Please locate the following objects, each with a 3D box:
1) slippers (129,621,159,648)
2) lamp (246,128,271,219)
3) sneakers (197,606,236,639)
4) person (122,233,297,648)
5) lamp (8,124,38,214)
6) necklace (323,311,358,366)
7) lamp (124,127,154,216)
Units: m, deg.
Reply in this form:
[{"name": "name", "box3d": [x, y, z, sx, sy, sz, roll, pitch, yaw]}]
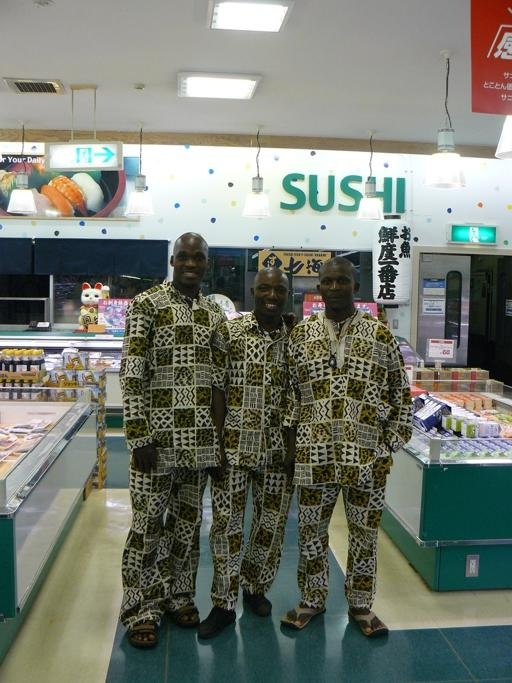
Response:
[{"name": "slippers", "box3d": [-0.444, 1.146, 2.258, 0.055, 0.061, 0.145, 4, -11, -10]}, {"name": "lamp", "box3d": [0.008, -1.817, 6.199, 0.397, 0.932, 0.385, 1, -7, -1]}, {"name": "sneakers", "box3d": [-0.161, 1.140, 2.361, 0.067, 0.073, 0.180, 3, -1, 35]}, {"name": "person", "box3d": [-0.331, 0.379, 2.322, 0.412, 1.627, 0.356, 1, 2, -8]}, {"name": "lamp", "box3d": [-2.515, -1.886, 6.098, 0.213, 0.864, 1.623, 0, 3, -23]}, {"name": "necklace", "box3d": [0.318, -0.005, 2.270, 0.115, 0.203, 0.096, 2, 2, 12]}, {"name": "lamp", "box3d": [-1.305, -1.831, 6.402, 0.273, 0.954, 1.129, 1, 3, -13]}]
